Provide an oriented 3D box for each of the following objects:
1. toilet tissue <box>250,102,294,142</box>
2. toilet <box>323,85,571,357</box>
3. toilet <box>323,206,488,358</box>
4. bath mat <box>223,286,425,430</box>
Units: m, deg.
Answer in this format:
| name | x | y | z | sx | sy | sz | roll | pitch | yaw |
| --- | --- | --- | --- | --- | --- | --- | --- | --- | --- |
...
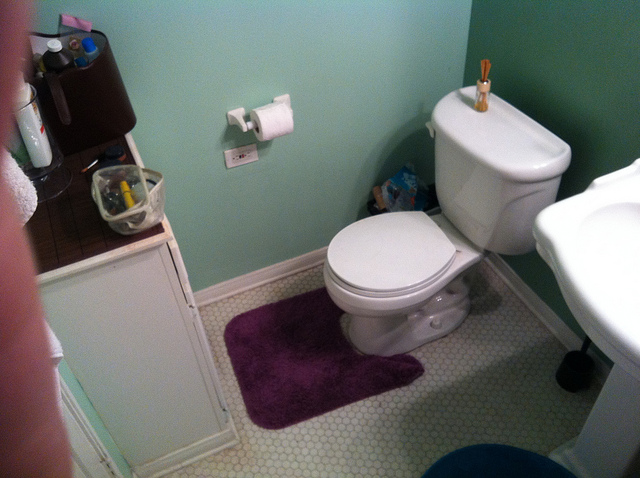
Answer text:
| name | x | y | z | sx | sy | sz | roll | pitch | yaw |
| --- | --- | --- | --- | --- | --- | --- | --- | --- | --- |
| toilet tissue | -0.165 | -0.377 | 1.722 | 0.138 | 0.126 | 0.113 | -17 | 52 | -20 |
| toilet | 0.351 | 0.004 | 1.758 | 0.697 | 0.801 | 0.525 | -14 | 40 | -16 |
| toilet | 0.265 | 0.117 | 1.858 | 0.626 | 0.422 | 0.408 | -24 | 53 | -16 |
| bath mat | -0.032 | 0.413 | 1.923 | 0.689 | 0.032 | 0.770 | -1 | 30 | 1 |
